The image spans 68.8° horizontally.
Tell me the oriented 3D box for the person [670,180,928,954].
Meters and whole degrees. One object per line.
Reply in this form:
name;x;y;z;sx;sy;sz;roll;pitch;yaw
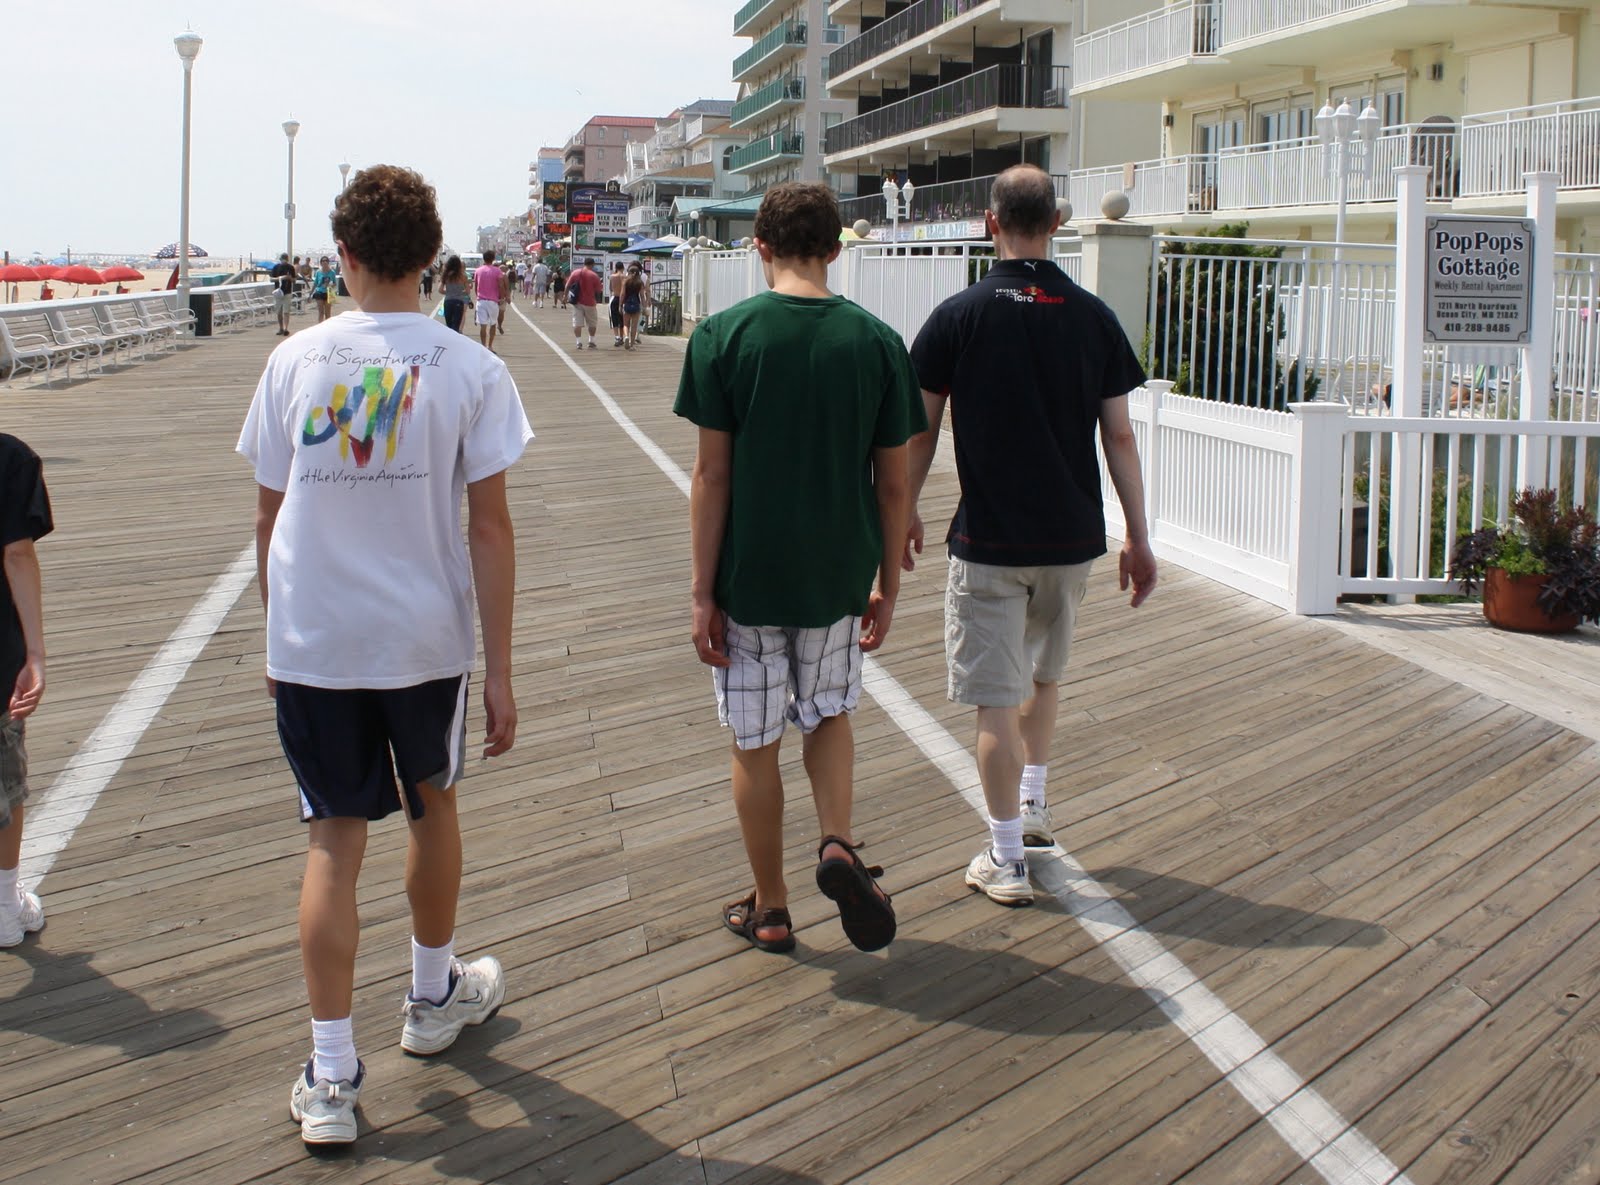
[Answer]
person;-0.001;-0.036;3.825;0.791;2.511;0.945;0;11;-1

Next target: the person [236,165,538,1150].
person;-1.060;0.327;3.112;0.685;2.065;0.593;-5;12;-26

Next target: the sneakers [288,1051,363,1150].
sneakers;-1.224;1.302;3.025;0.107;0.131;0.273;1;9;-16

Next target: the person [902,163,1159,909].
person;0.817;-0.228;4.389;0.961;2.624;0.605;-8;13;-37

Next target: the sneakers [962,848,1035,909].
sneakers;0.727;1.056;4.302;0.113;0.140;0.290;-1;8;-11

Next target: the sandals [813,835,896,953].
sandals;0.208;0.950;3.620;0.180;0.400;0.232;-18;19;21
